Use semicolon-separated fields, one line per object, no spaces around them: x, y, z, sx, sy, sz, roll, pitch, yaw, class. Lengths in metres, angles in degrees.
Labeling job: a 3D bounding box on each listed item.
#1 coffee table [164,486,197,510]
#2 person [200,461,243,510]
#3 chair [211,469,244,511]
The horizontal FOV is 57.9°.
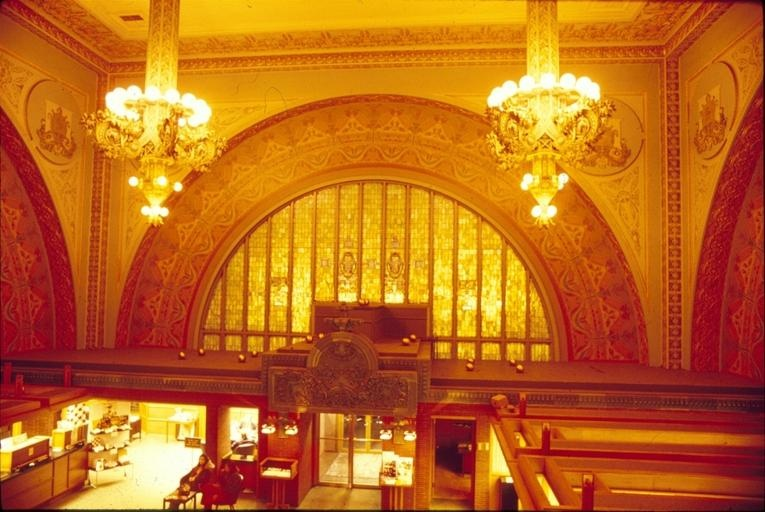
-4.041;4.891;13.859;0.676;0.411;0.908;4;-17;-16;coffee table
-3.121;4.484;13.483;0.673;0.879;0.416;-6;-16;18;person
-3.013;4.679;13.780;0.809;0.963;0.731;3;-16;-7;chair
